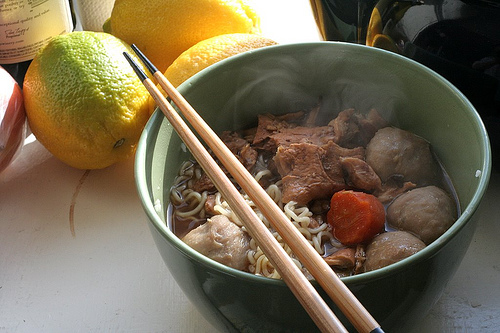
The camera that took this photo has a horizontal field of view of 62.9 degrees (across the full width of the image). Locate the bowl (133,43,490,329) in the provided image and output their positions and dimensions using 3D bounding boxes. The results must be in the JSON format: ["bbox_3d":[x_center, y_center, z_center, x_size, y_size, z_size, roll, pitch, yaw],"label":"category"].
[{"bbox_3d":[0.105,0.109,0.685,0.438,0.267,0.453,-2,40,2],"label":"bowl"}]

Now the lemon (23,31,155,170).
[{"bbox_3d":[-0.314,-0.135,0.805,0.226,0.225,0.284,-15,48,-34],"label":"lemon"}]

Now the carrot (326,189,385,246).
[{"bbox_3d":[0.148,0.077,0.594,0.082,0.032,0.078,-8,49,41],"label":"carrot"}]

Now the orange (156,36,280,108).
[{"bbox_3d":[-0.055,-0.153,0.697,0.168,0.104,0.135,-24,27,-20],"label":"orange"}]
